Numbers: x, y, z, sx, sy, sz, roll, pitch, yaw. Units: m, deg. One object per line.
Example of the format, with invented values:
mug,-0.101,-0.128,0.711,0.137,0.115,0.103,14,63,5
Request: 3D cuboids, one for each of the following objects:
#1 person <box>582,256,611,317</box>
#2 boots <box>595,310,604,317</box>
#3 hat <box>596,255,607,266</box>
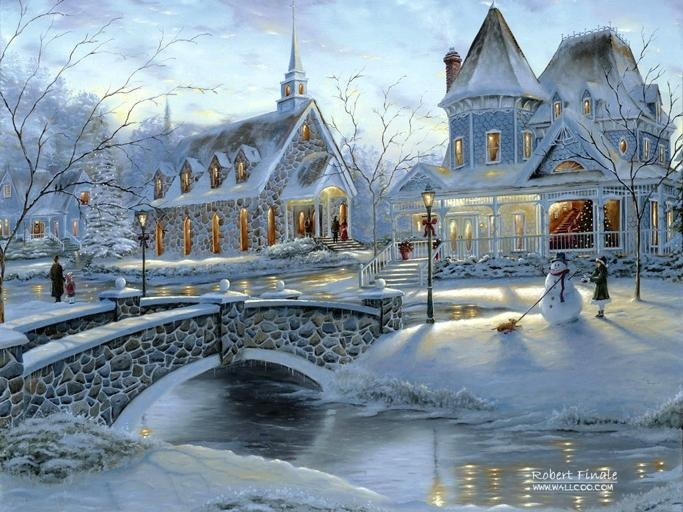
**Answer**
person,7.664,0.923,22.495,0.641,1.822,1.222,-1,-4,18
boots,7.596,1.691,22.145,0.226,0.212,0.350,-1,-4,18
hat,8.495,0.142,24.595,0.341,0.176,0.464,4,-7,-2
